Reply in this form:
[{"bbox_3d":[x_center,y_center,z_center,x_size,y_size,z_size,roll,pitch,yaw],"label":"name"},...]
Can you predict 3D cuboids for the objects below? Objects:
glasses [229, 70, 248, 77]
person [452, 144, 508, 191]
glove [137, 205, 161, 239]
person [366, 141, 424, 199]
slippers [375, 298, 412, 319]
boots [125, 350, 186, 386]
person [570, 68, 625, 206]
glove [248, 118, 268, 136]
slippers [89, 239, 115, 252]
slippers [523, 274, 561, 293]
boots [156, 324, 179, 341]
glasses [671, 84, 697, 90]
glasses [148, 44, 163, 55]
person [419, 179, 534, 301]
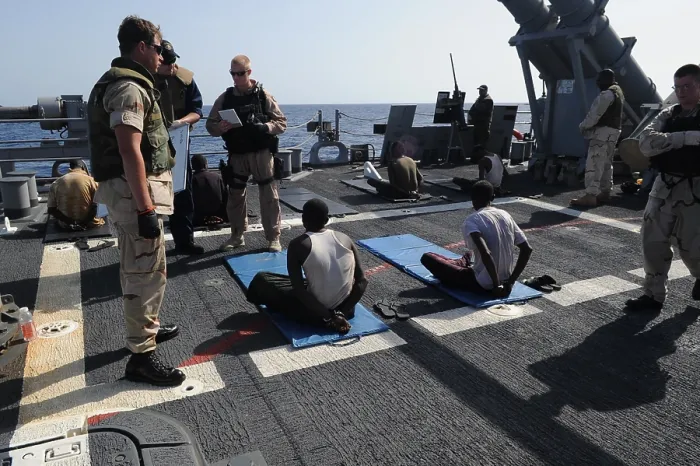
[{"bbox_3d":[-1.518,-2.212,5.384,0.236,0.080,0.114,-7,16,-14],"label":"glasses"},{"bbox_3d":[2.969,-1.471,9.693,0.833,0.799,2.050,-11,12,-18],"label":"person"},{"bbox_3d":[-1.558,-0.072,3.021,0.154,0.233,0.147,-11,19,-24],"label":"glove"},{"bbox_3d":[1.080,-1.488,9.164,1.450,1.213,1.197,-10,21,-26],"label":"person"},{"bbox_3d":[0.437,0.843,4.362,0.324,0.091,0.492,-7,16,-15],"label":"slippers"},{"bbox_3d":[-1.607,1.119,3.266,0.484,0.249,0.189,11,11,-6],"label":"boots"},{"bbox_3d":[5.261,-1.989,8.248,0.976,2.808,0.512,-14,20,-30],"label":"person"},{"bbox_3d":[-1.273,-1.498,5.452,0.267,0.236,0.213,-7,17,-11],"label":"glove"},{"bbox_3d":[-3.808,0.220,6.015,0.298,0.068,0.151,-20,19,-6],"label":"slippers"},{"bbox_3d":[2.413,0.642,4.865,0.253,0.087,0.318,-4,12,-12],"label":"slippers"},{"bbox_3d":[-1.795,0.988,3.901,0.095,0.102,0.252,24,30,37],"label":"boots"},{"bbox_3d":[3.422,-1.522,4.052,0.080,0.042,0.150,-10,17,-23],"label":"glasses"},{"bbox_3d":[-1.587,-1.506,3.181,0.088,0.025,0.079,8,14,-1],"label":"glasses"},{"bbox_3d":[1.660,0.046,4.843,1.147,1.203,1.229,-7,9,-30],"label":"person"}]
